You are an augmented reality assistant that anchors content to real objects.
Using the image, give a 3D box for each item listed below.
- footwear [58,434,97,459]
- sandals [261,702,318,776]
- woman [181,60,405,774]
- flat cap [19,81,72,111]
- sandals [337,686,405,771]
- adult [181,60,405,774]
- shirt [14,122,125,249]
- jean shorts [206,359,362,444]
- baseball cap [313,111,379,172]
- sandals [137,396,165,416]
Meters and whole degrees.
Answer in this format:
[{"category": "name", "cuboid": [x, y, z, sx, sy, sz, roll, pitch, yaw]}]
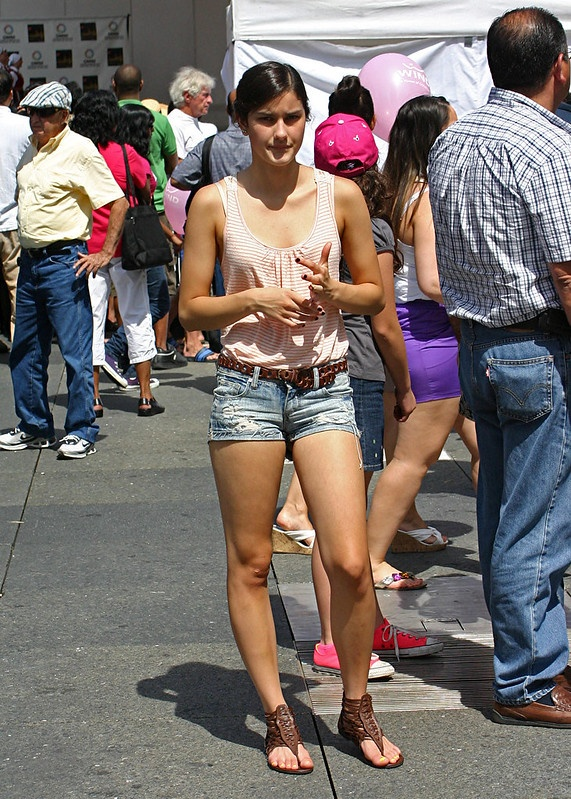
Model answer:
[{"category": "footwear", "cuboid": [-1.483, 0.349, 5.845, 0.135, 0.116, 0.289, -5, -5, 28]}, {"category": "sandals", "cuboid": [0.007, 0.875, 2.131, 0.094, 0.089, 0.233, -1, 0, -8]}, {"category": "woman", "cuboid": [0.007, 0.067, 2.058, 0.533, 1.780, 0.357, -2, 8, -3]}, {"category": "flat cap", "cuboid": [-1.526, -1.960, 5.300, 0.323, 0.140, 0.206, -2, 11, -40]}, {"category": "sandals", "cuboid": [0.202, 0.839, 2.167, 0.108, 0.143, 0.259, -21, 25, -27]}, {"category": "adult", "cuboid": [0.007, 0.067, 2.058, 0.533, 1.780, 0.357, -2, 8, -3]}, {"category": "shirt", "cuboid": [-1.457, -1.414, 5.501, 0.676, 0.799, 0.288, -3, 8, -13]}, {"category": "jean shorts", "cuboid": [-0.001, 0.028, 2.021, 0.407, 0.231, 0.203, 2, -7, -8]}, {"category": "baseball cap", "cuboid": [0.194, -0.804, 2.671, 0.214, 0.254, 0.104, -1, -34, 4]}, {"category": "sandals", "cuboid": [-1.155, 0.076, 6.979, 0.111, 0.107, 0.278, 2, 8, 17]}]
